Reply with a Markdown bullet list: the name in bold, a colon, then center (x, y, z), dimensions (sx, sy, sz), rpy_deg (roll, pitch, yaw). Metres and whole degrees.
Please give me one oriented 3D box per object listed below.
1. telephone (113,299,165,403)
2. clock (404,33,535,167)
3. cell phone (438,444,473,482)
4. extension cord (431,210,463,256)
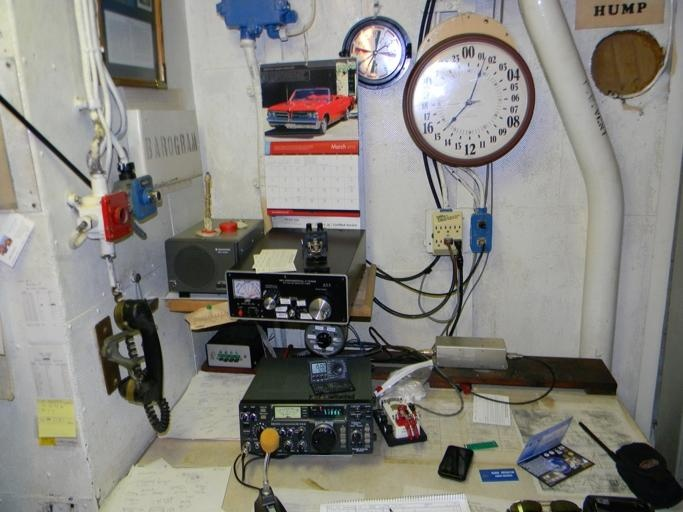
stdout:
- **telephone**: center (-0.790, 0.374, 2.290), dimensions (0.156, 0.406, 0.091), rpy_deg (-6, 10, -18)
- **clock**: center (0.584, -0.718, 2.742), dimensions (0.594, 0.591, 0.055), rpy_deg (-1, 9, 8)
- **cell phone**: center (0.459, 0.837, 2.363), dimensions (0.114, 0.039, 0.164), rpy_deg (3, 28, 25)
- **extension cord**: center (0.532, -0.102, 2.972), dimensions (0.142, 0.224, 0.102), rpy_deg (-1, -10, 9)
